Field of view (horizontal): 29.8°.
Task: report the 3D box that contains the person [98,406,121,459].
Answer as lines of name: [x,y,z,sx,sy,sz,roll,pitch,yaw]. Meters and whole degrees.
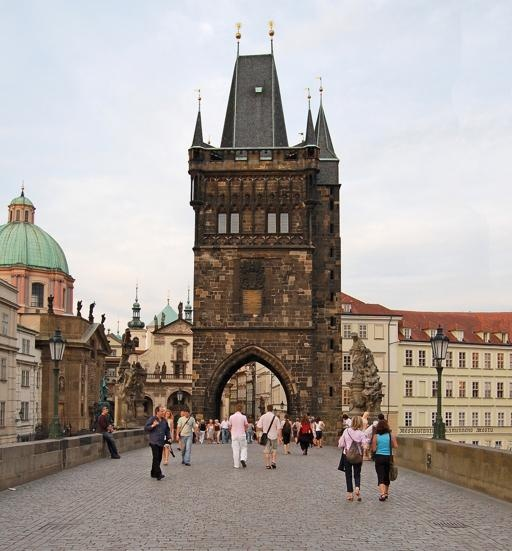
person: [-3.763,4.005,24.549,0.547,1.369,1.731,1,-10,-2]

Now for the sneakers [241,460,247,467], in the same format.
sneakers: [-0.280,4.222,21.456,0.060,0.197,0.071,-4,2,3]

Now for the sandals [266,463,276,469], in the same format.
sandals: [0.326,4.277,21.525,0.123,0.162,0.378,0,-15,-1]
